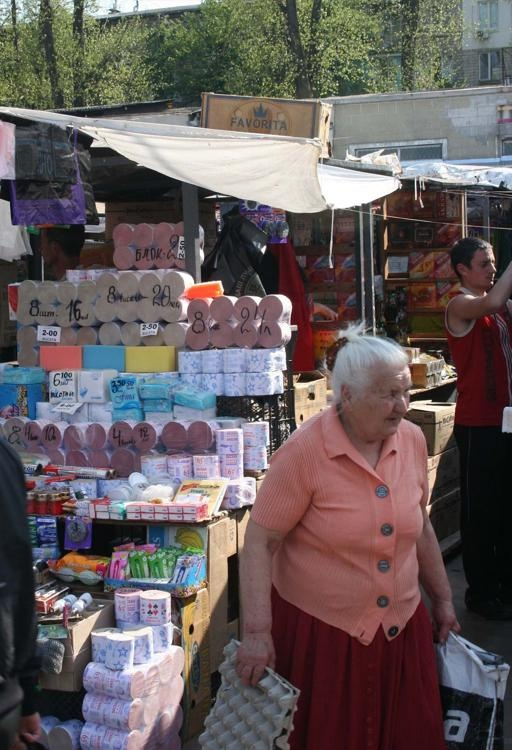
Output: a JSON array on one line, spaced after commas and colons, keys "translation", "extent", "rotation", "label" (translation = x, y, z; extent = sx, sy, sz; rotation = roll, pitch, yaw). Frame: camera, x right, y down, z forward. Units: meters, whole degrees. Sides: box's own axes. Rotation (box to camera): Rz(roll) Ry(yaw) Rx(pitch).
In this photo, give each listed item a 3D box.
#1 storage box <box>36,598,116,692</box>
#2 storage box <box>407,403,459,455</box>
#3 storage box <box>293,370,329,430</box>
[{"translation": [-0.618, 0.921, 2.987], "extent": [0.149, 0.228, 0.367], "rotation": [-1, 11, 17], "label": "storage box"}, {"translation": [1.197, 0.340, 5.708], "extent": [0.438, 0.243, 0.430], "rotation": [-12, 8, -44], "label": "storage box"}, {"translation": [0.358, 0.141, 5.621], "extent": [0.252, 0.327, 0.324], "rotation": [-1, 9, 4], "label": "storage box"}]
